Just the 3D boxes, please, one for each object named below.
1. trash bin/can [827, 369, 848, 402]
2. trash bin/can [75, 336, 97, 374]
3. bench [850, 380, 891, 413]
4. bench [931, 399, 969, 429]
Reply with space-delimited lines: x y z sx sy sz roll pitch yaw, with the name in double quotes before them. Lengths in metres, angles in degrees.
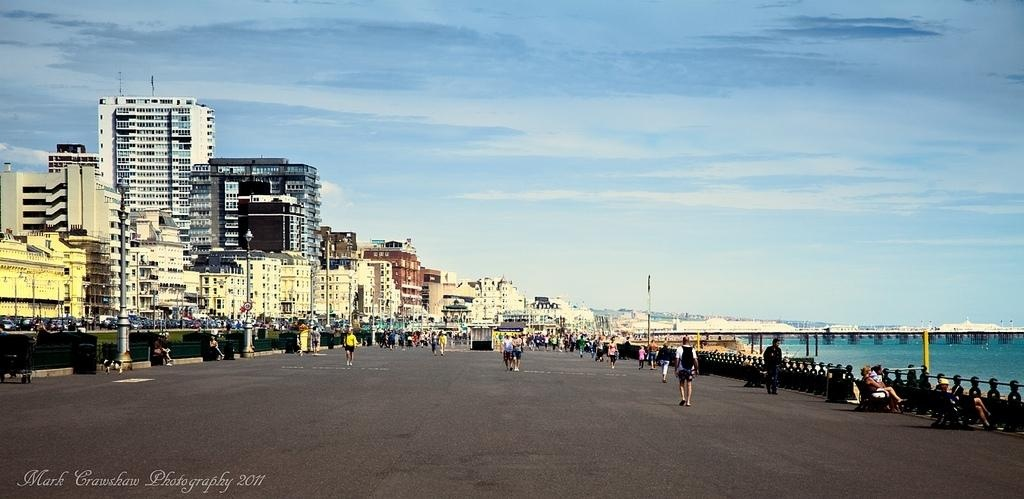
"trash bin/can" 26.660 11.018 99.919 1.652 2.732 0.652 2 -6 10
"trash bin/can" -37.991 9.271 108.767 2.056 3.341 1.577 4 -6 -3
"bench" 28.417 11.745 96.642 3.077 2.195 1.868 -2 -2 11
"bench" 32.957 12.363 92.180 2.697 2.271 2.936 -1 0 11
